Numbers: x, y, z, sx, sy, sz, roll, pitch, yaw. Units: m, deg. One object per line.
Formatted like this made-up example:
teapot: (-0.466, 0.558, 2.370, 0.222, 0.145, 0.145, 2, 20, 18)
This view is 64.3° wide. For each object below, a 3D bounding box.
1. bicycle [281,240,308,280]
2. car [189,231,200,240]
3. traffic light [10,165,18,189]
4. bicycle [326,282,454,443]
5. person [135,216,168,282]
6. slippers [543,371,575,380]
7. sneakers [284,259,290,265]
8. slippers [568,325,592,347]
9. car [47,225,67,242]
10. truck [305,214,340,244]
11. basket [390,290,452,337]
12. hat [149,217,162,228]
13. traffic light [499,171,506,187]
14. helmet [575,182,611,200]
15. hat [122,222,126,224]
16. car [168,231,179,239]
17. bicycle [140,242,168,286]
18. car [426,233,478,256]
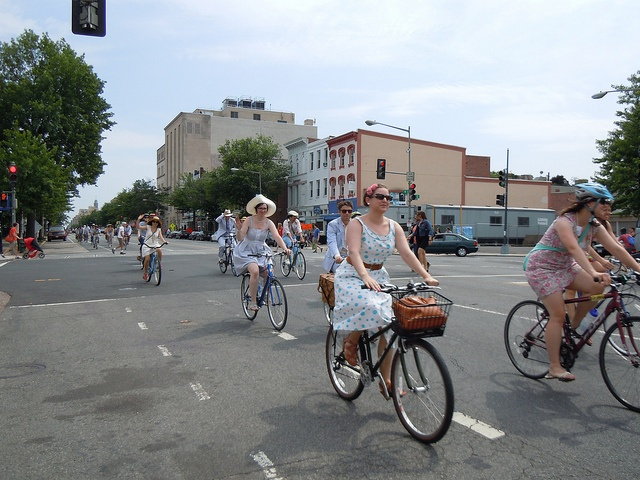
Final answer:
bicycle: (-0.802, 0.704, 15.690, 0.581, 0.815, 1.225, 1, -5, -20)
car: (-17.959, -0.737, 73.528, 1.557, 1.259, 2.477, -1, 8, -19)
traffic light: (-14.321, -3.046, 23.739, 0.272, 1.030, 0.648, -4, 7, -32)
bicycle: (0.653, 1.036, 4.691, 0.379, 1.374, 1.451, -5, 7, -37)
person: (-4.539, 0.250, 13.847, 0.644, 1.922, 1.474, -2, 6, -19)
slippers: (2.555, 1.456, 5.451, 0.123, 0.075, 0.271, 5, -13, -42)
sneakers: (-0.998, 0.655, 15.672, 0.146, 0.102, 0.202, 22, -5, 27)
slippers: (2.803, 1.032, 5.410, 0.098, 0.141, 0.321, -3, 4, -29)
car: (-30.060, -0.924, 58.067, 1.504, 1.585, 2.813, 0, -7, -26)
truck: (-0.297, -1.761, 53.184, 2.961, 4.350, 4.175, -2, 4, -24)
basket: (0.818, 0.615, 4.454, 0.361, 0.336, 0.462, 0, -2, -18)
hat: (-4.361, -0.546, 13.544, 0.301, 0.336, 0.097, 7, 41, -10)
traffic light: (11.222, -3.832, 31.159, 0.314, 0.876, 0.853, 2, 6, 24)
helmet: (2.881, -0.519, 5.373, 0.337, 0.189, 0.281, 3, 6, 28)
hat: (-11.921, -1.070, 30.882, 0.260, 0.100, 0.275, 0, 0, -42)
car: (-24.426, -1.066, 84.601, 1.175, 1.006, 2.722, 1, 6, -13)
bicycle: (-4.378, 0.673, 14.075, 0.747, 1.068, 1.578, 1, -2, -28)
car: (7.335, 0.266, 28.567, 2.531, 0.957, 1.167, 2, -3, 0)
